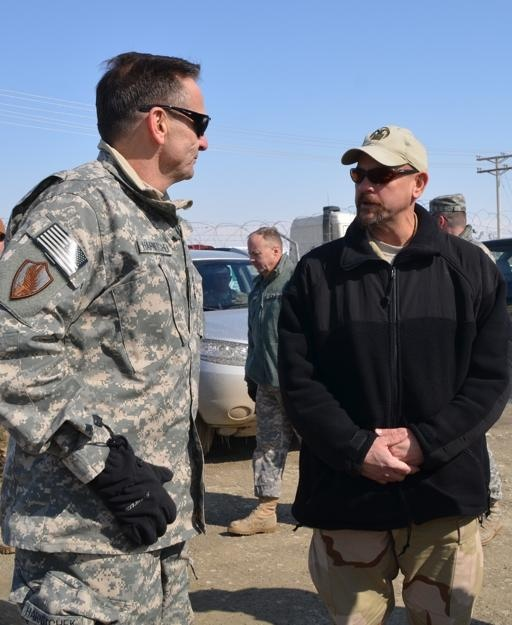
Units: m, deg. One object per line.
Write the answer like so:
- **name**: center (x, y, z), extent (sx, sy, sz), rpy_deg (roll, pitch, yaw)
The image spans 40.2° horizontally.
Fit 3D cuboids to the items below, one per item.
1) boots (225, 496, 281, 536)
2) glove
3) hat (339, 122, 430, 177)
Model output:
- **boots**: center (-0.076, 1.308, 4.389), extent (0.416, 0.237, 0.151), rpy_deg (3, -6, -5)
- **glove**: center (-0.299, 0.444, 1.737), extent (0.218, 0.298, 0.060), rpy_deg (-6, 6, -39)
- **hat**: center (0.466, -0.589, 2.507), extent (0.368, 0.145, 0.234), rpy_deg (1, 12, -39)
